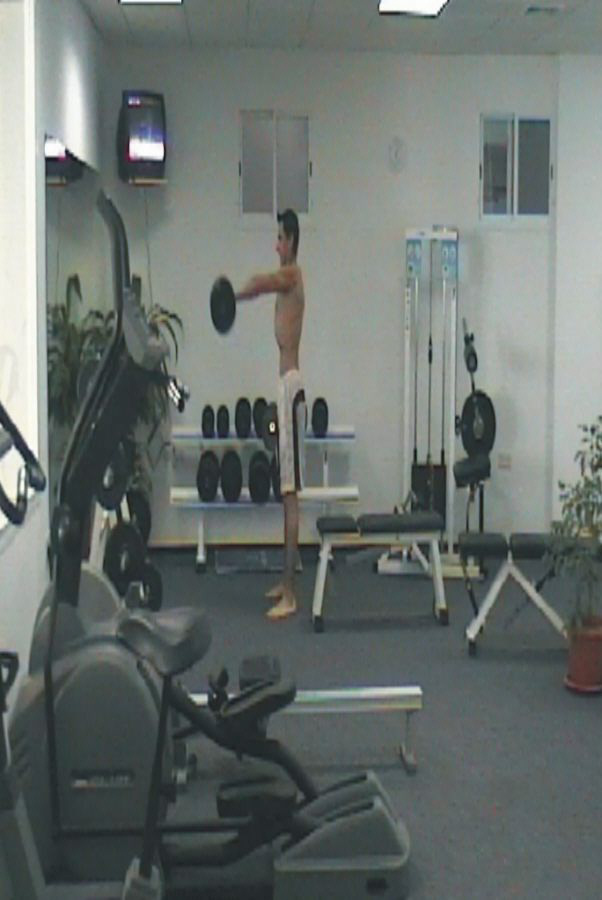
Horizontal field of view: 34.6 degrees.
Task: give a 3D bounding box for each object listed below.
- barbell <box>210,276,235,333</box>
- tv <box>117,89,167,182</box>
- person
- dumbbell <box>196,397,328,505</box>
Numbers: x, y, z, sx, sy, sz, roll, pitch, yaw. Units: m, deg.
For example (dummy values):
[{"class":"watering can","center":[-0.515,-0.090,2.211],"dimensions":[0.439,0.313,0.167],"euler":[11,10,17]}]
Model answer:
[{"class":"barbell","center":[-0.197,-0.370,2.467],"dimensions":[0.062,0.142,0.336],"euler":[-1,8,-5]},{"class":"tv","center":[-0.412,-0.798,2.499],"dimensions":[0.110,0.224,0.204],"euler":[-1,6,-4]},{"class":"person","center":[-0.085,-0.121,3.182],"dimensions":[0.175,1.318,0.500],"euler":[0,5,1]},{"class":"dumbbell","center":[-0.187,-0.002,3.688],"dimensions":[0.320,0.482,0.131],"euler":[0,5,-10]}]
